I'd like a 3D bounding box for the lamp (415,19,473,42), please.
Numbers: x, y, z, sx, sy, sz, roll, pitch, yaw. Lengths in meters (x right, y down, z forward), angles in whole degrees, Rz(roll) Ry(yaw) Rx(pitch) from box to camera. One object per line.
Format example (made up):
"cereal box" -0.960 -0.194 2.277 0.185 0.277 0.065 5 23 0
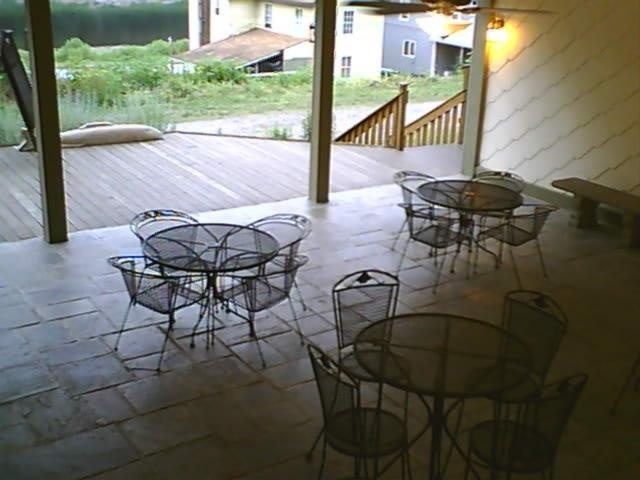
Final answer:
"lamp" 1.445 -2.502 6.231 0.500 0.196 1.329 6 21 10
